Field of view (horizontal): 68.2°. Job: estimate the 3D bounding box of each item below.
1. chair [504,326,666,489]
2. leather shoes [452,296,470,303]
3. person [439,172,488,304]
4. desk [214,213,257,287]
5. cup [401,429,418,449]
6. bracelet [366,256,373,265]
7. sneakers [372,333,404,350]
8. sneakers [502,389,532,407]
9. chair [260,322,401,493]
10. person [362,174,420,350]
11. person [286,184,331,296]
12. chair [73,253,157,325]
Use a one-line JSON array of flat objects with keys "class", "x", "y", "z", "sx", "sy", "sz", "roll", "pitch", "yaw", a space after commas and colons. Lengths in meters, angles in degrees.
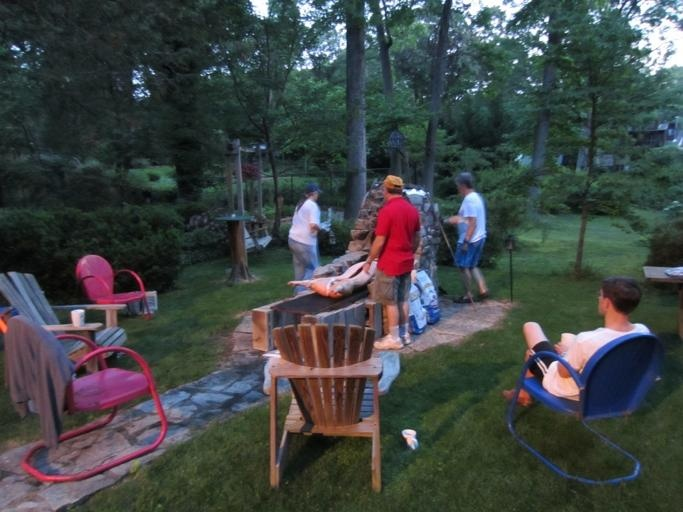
[{"class": "chair", "x": 2.678, "y": 1.438, "z": 5.604, "sx": 1.173, "sy": 1.651, "sz": 1.383, "roll": -2, "pitch": 13, "yaw": -2}, {"class": "leather shoes", "x": 2.282, "y": 0.835, "z": 9.511, "sx": 0.203, "sy": 0.072, "sz": 0.143, "roll": -4, "pitch": 2, "yaw": -8}, {"class": "person", "x": 2.338, "y": -0.305, "z": 9.189, "sx": 0.535, "sy": 2.407, "sz": 0.571, "roll": 7, "pitch": 14, "yaw": 45}, {"class": "desk", "x": -2.430, "y": -0.171, "z": 11.890, "sx": 0.668, "sy": 1.536, "sz": 0.993, "roll": -5, "pitch": 10, "yaw": -9}, {"class": "cup", "x": 0.757, "y": 2.007, "z": 5.521, "sx": 0.126, "sy": 0.077, "sz": 0.172, "roll": -8, "pitch": 26, "yaw": -12}, {"class": "bracelet", "x": 0.412, "y": 0.062, "z": 7.234, "sx": 0.091, "sy": 0.078, "sz": 0.070, "roll": 9, "pitch": -10, "yaw": -39}, {"class": "sneakers", "x": 0.691, "y": 1.287, "z": 7.478, "sx": 0.484, "sy": 0.220, "sz": 0.179, "roll": 0, "pitch": -3, "yaw": 6}, {"class": "sneakers", "x": 2.130, "y": 1.656, "z": 6.079, "sx": 0.232, "sy": 0.114, "sz": 0.309, "roll": 4, "pitch": 2, "yaw": 8}, {"class": "chair", "x": -0.106, "y": 1.408, "z": 5.592, "sx": 1.122, "sy": 1.533, "sz": 1.778, "roll": -1, "pitch": 3, "yaw": 1}, {"class": "person", "x": 0.759, "y": 0.129, "z": 7.234, "sx": 0.695, "sy": 2.505, "sz": 0.410, "roll": -9, "pitch": 11, "yaw": -29}, {"class": "person", "x": -0.690, "y": -0.428, "z": 9.453, "sx": 0.597, "sy": 1.806, "sz": 0.460, "roll": -3, "pitch": 10, "yaw": 2}, {"class": "chair", "x": -4.098, "y": 0.542, "z": 9.204, "sx": 1.543, "sy": 1.485, "sz": 1.187, "roll": 4, "pitch": 5, "yaw": 16}]
